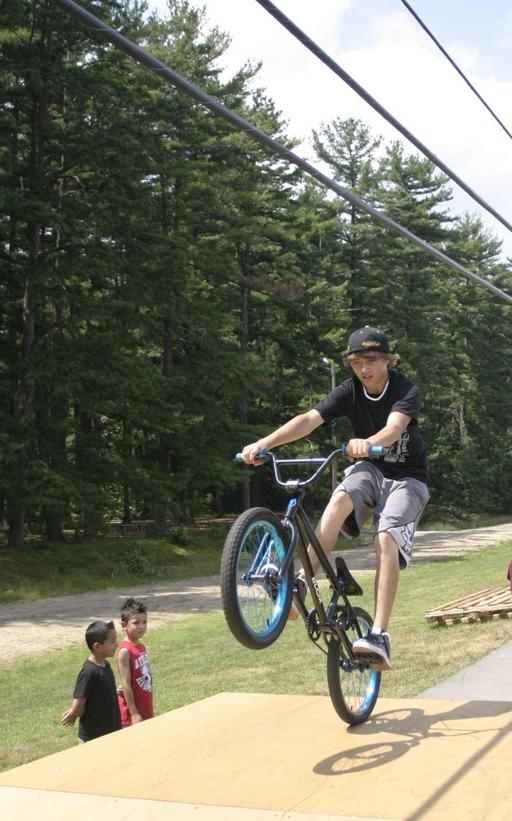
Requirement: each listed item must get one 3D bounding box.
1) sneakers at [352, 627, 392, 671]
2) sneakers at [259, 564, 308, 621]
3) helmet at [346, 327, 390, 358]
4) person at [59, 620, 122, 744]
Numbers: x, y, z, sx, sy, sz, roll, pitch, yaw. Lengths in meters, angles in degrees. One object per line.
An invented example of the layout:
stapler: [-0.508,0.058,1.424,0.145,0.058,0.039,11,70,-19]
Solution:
sneakers: [0.600,1.191,4.215,0.107,0.144,0.300,4,-31,29]
sneakers: [0.131,0.847,4.083,0.138,0.416,0.178,-7,-14,5]
helmet: [0.607,-0.378,4.564,0.155,0.127,0.211,1,-2,39]
person: [-0.996,1.670,5.133,0.358,0.719,0.506,-1,-12,-11]
